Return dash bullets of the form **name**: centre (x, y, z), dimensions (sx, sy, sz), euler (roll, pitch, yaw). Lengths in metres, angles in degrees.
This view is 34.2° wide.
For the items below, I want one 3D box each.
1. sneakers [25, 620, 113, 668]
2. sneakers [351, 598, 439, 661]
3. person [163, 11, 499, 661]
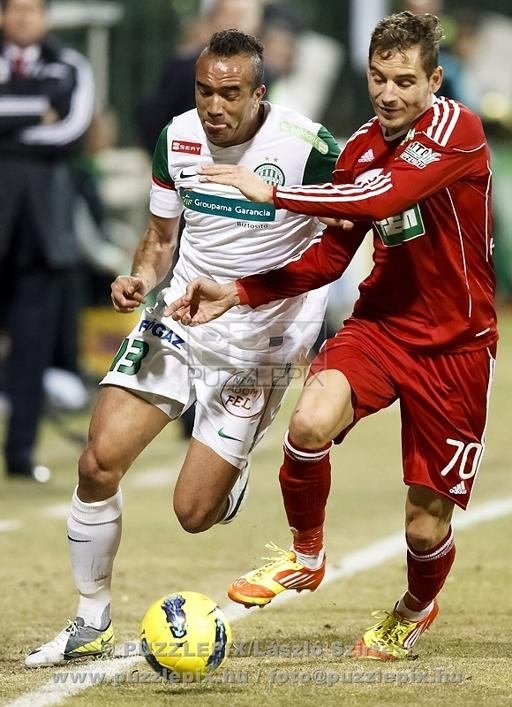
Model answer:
- **sneakers**: centre (-0.568, 0.902, 2.604), dimensions (0.326, 0.116, 0.100), euler (-3, 3, -22)
- **sneakers**: centre (0.465, 0.911, 2.732), dimensions (0.118, 0.116, 0.331), euler (34, 44, 31)
- **person**: centre (0.319, 0.026, 2.553), dimensions (0.925, 2.027, 0.624), euler (19, 24, 17)
